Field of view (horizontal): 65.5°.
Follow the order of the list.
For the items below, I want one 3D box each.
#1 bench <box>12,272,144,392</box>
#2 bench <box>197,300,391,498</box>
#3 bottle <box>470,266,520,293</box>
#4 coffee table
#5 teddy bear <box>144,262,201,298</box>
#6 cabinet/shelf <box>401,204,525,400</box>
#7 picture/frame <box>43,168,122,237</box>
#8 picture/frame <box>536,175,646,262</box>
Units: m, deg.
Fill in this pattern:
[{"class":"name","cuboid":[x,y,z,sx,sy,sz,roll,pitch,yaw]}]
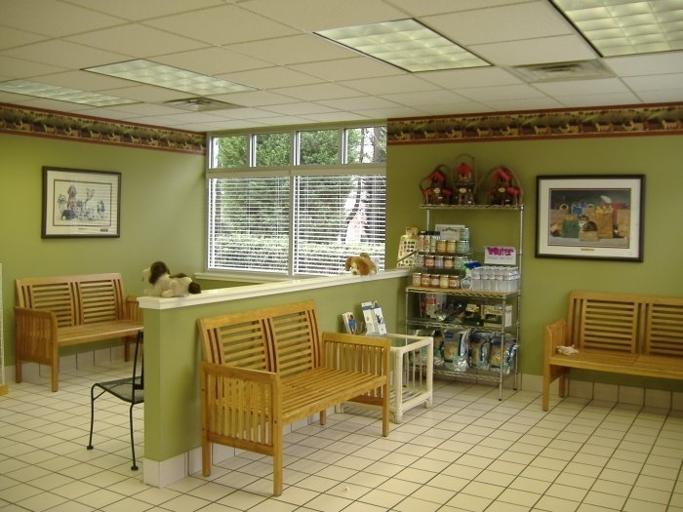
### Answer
[{"class":"bench","cuboid":[-3.333,0.880,6.991,0.731,1.093,1.676,7,4,26]},{"class":"bench","cuboid":[-0.372,1.103,4.794,0.969,1.090,1.999,7,2,25]},{"class":"bottle","cuboid":[1.803,0.202,6.317,0.565,0.261,0.347,1,4,2]},{"class":"coffee table","cuboid":[0.486,1.317,6.025,1.111,0.858,1.076,3,7,32]},{"class":"teddy bear","cuboid":[-1.353,0.194,4.220,0.591,0.250,0.224,7,7,30]},{"class":"cabinet/shelf","cuboid":[1.493,0.488,6.543,1.360,2.288,0.776,4,6,27]},{"class":"picture/frame","cuboid":[-3.516,-0.709,7.181,1.259,0.916,0.096,5,8,15]},{"class":"picture/frame","cuboid":[2.928,-0.447,6.120,1.251,0.947,0.085,2,1,28]}]
